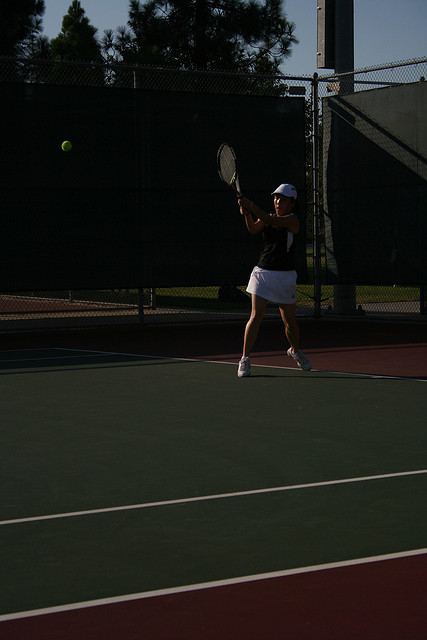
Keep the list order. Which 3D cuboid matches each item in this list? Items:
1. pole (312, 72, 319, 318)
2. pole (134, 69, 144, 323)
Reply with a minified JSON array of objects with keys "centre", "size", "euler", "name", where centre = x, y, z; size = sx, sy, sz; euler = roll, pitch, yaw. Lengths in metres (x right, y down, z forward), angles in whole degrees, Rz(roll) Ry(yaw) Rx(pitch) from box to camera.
[{"centre":[2.193,-2.645,12.354],"size":[0.103,5.027,0.691],"euler":[0,1,10],"name":"pole"},{"centre":[-1.446,-2.293,11.236],"size":[0.291,4.369,0.265],"euler":[-1,3,-19],"name":"pole"}]
